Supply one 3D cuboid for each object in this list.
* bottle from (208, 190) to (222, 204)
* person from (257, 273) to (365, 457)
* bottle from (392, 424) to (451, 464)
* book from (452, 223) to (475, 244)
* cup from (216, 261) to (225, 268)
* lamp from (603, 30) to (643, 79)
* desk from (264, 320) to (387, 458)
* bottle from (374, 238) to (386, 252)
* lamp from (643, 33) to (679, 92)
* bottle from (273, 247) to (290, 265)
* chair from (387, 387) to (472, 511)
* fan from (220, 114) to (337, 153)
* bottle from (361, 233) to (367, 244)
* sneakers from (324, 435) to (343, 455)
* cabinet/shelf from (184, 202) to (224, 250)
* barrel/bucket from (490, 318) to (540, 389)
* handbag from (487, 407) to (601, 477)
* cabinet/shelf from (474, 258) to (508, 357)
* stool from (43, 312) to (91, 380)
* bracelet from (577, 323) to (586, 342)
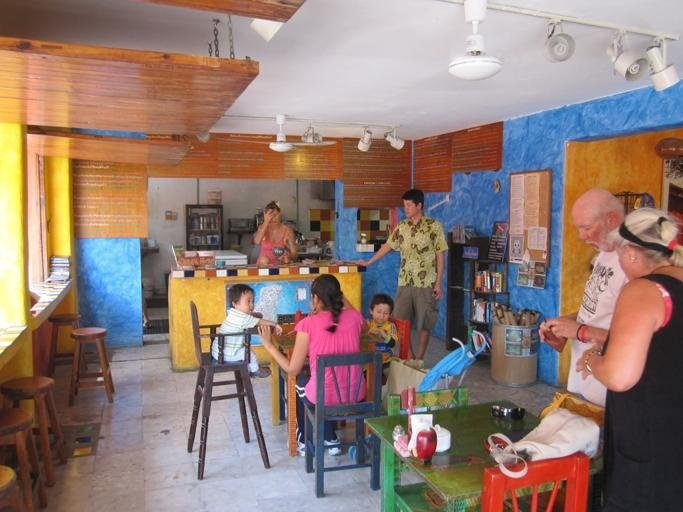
[{"bbox_3d":[-2.821,-1.288,11.817,0.296,0.265,0.094,-3,8,-18],"label":"bottle"},{"bbox_3d":[-0.231,0.900,4.414,0.906,1.469,0.818,2,8,10],"label":"person"},{"bbox_3d":[0.399,0.974,2.823,0.171,0.097,0.222,0,1,-19],"label":"bottle"},{"bbox_3d":[1.673,-0.283,7.281,0.230,0.251,0.592,-2,8,-13],"label":"book"},{"bbox_3d":[-1.537,0.105,6.728,0.116,0.079,0.073,1,-1,-42],"label":"cup"},{"bbox_3d":[1.954,-1.371,3.648,0.144,0.336,0.225,-4,9,-26],"label":"lamp"},{"bbox_3d":[-0.129,0.833,4.023,0.716,1.001,0.671,-2,8,-18],"label":"desk"},{"bbox_3d":[0.601,-0.187,8.799,0.194,0.202,0.192,0,1,-38],"label":"bottle"},{"bbox_3d":[2.266,-1.372,3.780,0.210,0.380,0.578,4,9,29],"label":"lamp"},{"bbox_3d":[-0.829,-0.002,7.230,0.205,0.196,0.278,-2,8,-12],"label":"bottle"},{"bbox_3d":[0.538,0.949,3.281,0.342,0.648,0.363,0,8,-11],"label":"chair"},{"bbox_3d":[-0.717,-1.409,6.511,0.892,0.413,0.662,7,11,43],"label":"fan"},{"bbox_3d":[0.342,-0.283,8.794,0.137,0.153,0.139,-4,13,-7],"label":"bottle"},{"bbox_3d":[-0.076,1.542,4.269,0.110,0.129,0.277,1,1,-7],"label":"sneakers"},{"bbox_3d":[-3.013,-0.514,11.662,0.840,0.470,1.512,2,39,-15],"label":"cabinet/shelf"},{"bbox_3d":[2.017,1.122,6.329,0.592,0.696,0.606,1,0,0],"label":"barrel/bucket"},{"bbox_3d":[0.967,0.895,2.562,0.461,0.159,0.272,-5,3,-28],"label":"handbag"},{"bbox_3d":[1.796,0.582,6.839,0.287,0.875,0.495,16,-12,-12],"label":"cabinet/shelf"},{"bbox_3d":[-3.151,1.008,6.073,0.465,0.631,0.472,2,1,-3],"label":"stool"},{"bbox_3d":[1.437,0.474,3.236,0.030,0.086,0.071,0,3,13],"label":"bracelet"}]
